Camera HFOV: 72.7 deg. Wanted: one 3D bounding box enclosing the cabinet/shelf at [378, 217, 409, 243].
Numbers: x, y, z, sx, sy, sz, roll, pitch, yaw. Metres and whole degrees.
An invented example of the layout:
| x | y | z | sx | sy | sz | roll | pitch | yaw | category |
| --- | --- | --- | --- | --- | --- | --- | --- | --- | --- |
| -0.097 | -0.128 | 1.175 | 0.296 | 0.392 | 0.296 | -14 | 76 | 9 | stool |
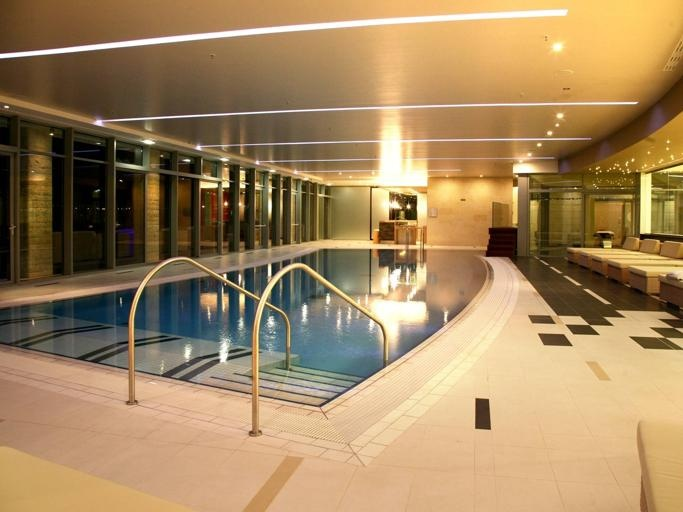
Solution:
| x | y | z | sx | sy | sz | roll | pitch | yaw | category |
| --- | --- | --- | --- | --- | --- | --- | --- | --- | --- |
| 3.089 | -1.662 | 28.941 | 2.364 | 2.161 | 1.298 | 3 | 5 | 40 | cabinet/shelf |
